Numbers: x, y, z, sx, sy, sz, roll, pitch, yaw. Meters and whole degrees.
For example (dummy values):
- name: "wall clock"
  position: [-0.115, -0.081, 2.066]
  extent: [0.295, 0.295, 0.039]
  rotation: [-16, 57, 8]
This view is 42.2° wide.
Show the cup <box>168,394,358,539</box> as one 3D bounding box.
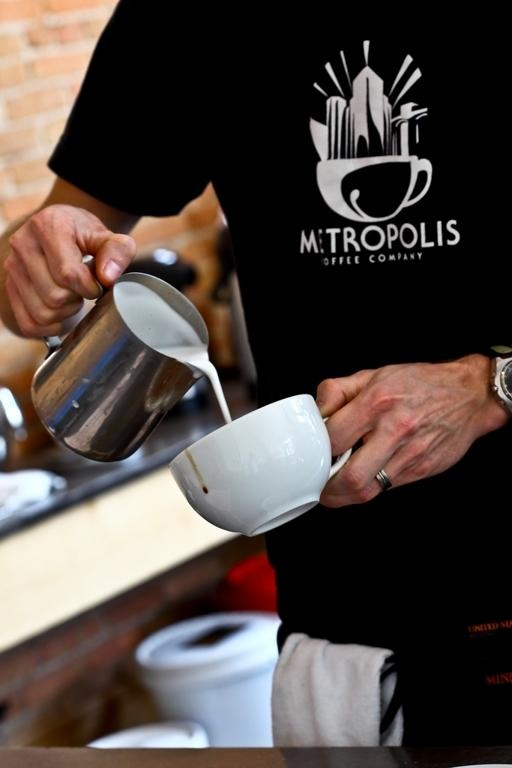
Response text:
- name: "cup"
  position: [0.007, 0.048, 0.530]
  extent: [0.124, 0.096, 0.064]
  rotation: [-16, 69, -36]

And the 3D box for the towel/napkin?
- name: "towel/napkin"
  position: [0.078, 0.323, 0.665]
  extent: [0.128, 0.065, 0.117]
  rotation: [-5, 79, 36]

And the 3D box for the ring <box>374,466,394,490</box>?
- name: "ring"
  position: [0.124, 0.091, 0.652]
  extent: [0.009, 0.023, 0.023]
  rotation: [-29, 62, 3]
